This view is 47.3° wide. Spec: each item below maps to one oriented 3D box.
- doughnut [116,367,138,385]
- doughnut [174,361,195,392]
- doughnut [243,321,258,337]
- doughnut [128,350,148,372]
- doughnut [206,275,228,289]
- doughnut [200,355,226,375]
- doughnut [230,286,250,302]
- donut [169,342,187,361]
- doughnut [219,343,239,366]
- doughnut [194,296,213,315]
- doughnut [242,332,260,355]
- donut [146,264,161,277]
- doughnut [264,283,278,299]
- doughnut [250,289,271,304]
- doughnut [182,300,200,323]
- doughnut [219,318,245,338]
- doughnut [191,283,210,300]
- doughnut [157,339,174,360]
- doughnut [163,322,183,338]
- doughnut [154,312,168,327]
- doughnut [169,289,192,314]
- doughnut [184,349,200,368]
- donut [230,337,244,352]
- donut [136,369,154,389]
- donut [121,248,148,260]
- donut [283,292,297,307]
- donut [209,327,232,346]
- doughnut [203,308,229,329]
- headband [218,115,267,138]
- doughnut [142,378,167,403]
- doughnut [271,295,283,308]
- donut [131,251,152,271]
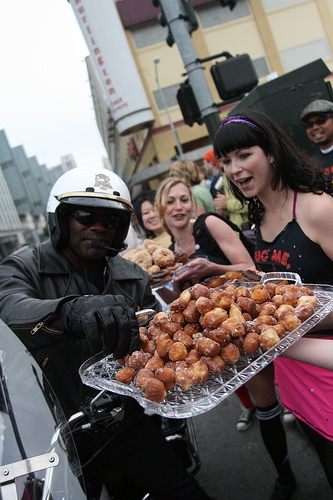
[{"bbox_3d":[-0.115,0.368,1.123,0.050,0.027,0.037,-31,27,-25],"label":"doughnut"},{"bbox_3d":[0.049,0.350,1.046,0.064,0.041,0.126,-1,6,1],"label":"doughnut"},{"bbox_3d":[0.263,0.242,1.164,0.038,0.021,0.038,-5,2,8],"label":"doughnut"},{"bbox_3d":[-0.087,0.335,1.149,0.053,0.048,0.022,1,-9,-24],"label":"doughnut"},{"bbox_3d":[0.295,0.182,2.157,0.076,0.026,0.083,-27,2,33],"label":"doughnut"},{"bbox_3d":[0.127,0.313,1.066,0.058,0.032,0.044,26,10,32],"label":"doughnut"},{"bbox_3d":[0.266,0.158,1.378,0.052,0.034,0.062,-18,-4,10],"label":"doughnut"},{"bbox_3d":[0.034,0.305,1.134,0.050,0.049,0.025,-14,24,46],"label":"donut"},{"bbox_3d":[0.183,0.298,1.083,0.049,0.058,0.033,2,-30,-7],"label":"doughnut"},{"bbox_3d":[0.118,0.186,1.259,0.028,0.053,0.052,114,179,-51],"label":"doughnut"},{"bbox_3d":[0.248,0.272,1.110,0.044,0.059,0.034,-13,-33,31],"label":"doughnut"},{"bbox_3d":[-0.105,0.170,3.098,0.091,0.050,0.068,-38,-8,-9],"label":"donut"},{"bbox_3d":[0.394,0.156,1.471,0.044,0.050,0.043,14,24,-11],"label":"doughnut"},{"bbox_3d":[0.345,0.164,1.373,0.050,0.035,0.060,-8,-1,-10],"label":"doughnut"},{"bbox_3d":[0.082,0.205,1.274,0.051,0.067,0.025,-1,7,25],"label":"doughnut"},{"bbox_3d":[0.205,0.231,1.133,0.046,0.036,0.060,-8,3,0],"label":"doughnut"},{"bbox_3d":[0.119,0.144,1.353,0.055,0.036,0.051,31,-4,-34],"label":"doughnut"},{"bbox_3d":[-0.008,0.307,1.171,0.032,0.055,0.054,11,12,-38],"label":"doughnut"},{"bbox_3d":[0.023,0.260,1.253,0.042,0.021,0.045,9,11,34],"label":"doughnut"},{"bbox_3d":[-0.022,0.250,1.347,0.041,0.045,0.038,6,-9,-16],"label":"doughnut"},{"bbox_3d":[0.053,0.175,1.319,0.045,0.031,0.094,-7,23,26],"label":"doughnut"},{"bbox_3d":[0.081,0.318,1.115,0.037,0.021,0.037,-51,36,-6],"label":"doughnut"},{"bbox_3d":[0.214,0.281,1.141,0.038,0.037,0.021,-17,-18,-48],"label":"donut"},{"bbox_3d":[-0.058,0.355,1.050,0.017,0.039,0.038,23,-25,-27],"label":"donut"},{"bbox_3d":[-0.326,0.030,3.612,0.135,0.041,0.139,-20,2,32],"label":"donut"},{"bbox_3d":[0.422,0.168,1.292,0.039,0.038,0.039,-9,0,4],"label":"donut"},{"bbox_3d":[0.158,0.252,1.101,0.054,0.042,0.040,-6,1,3],"label":"donut"},{"bbox_3d":[0.157,0.215,1.188,0.060,0.023,0.059,-33,-13,1],"label":"doughnut"},{"bbox_3d":[0.400,-0.622,1.998,0.248,0.121,0.171,2,12,27],"label":"headband"},{"bbox_3d":[-0.030,0.360,0.977,0.061,0.046,0.028,31,21,28],"label":"doughnut"},{"bbox_3d":[0.401,0.183,1.359,0.035,0.020,0.035,-55,22,-9],"label":"doughnut"},{"bbox_3d":[-0.217,0.092,3.293,0.163,0.161,0.057,-26,-27,39],"label":"donut"}]
